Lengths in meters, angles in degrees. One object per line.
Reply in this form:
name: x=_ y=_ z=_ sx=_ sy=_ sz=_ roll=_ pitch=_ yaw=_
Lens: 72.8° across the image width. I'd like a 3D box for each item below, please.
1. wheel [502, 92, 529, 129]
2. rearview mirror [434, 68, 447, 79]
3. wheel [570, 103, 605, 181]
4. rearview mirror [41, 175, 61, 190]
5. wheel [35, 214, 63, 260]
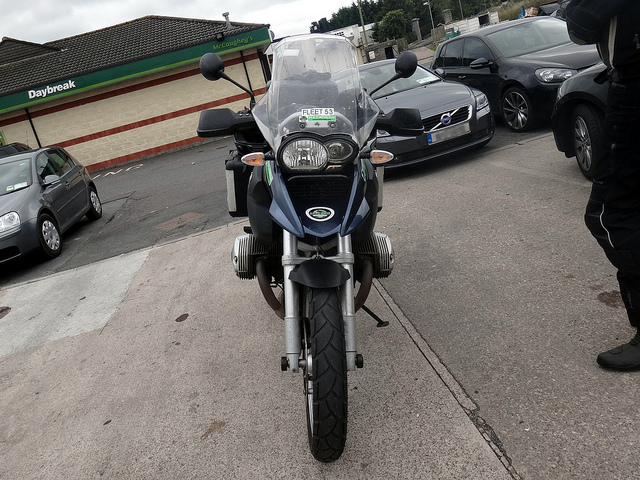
wheel: x=3.753 y=-2.480 z=8.388 sx=0.112 sy=0.678 sz=0.684 roll=-14 pitch=23 yaw=-7
rearview mirror: x=2.407 y=-3.313 z=8.795 sx=0.186 sy=0.187 sz=0.351 roll=-6 pitch=25 yaw=14
wheel: x=3.429 y=-1.225 z=5.457 sx=0.280 sy=0.932 sz=0.899 roll=-10 pitch=15 yaw=19
rearview mirror: x=-5.363 y=-1.176 z=8.739 sx=0.221 sy=0.205 sz=0.536 roll=-14 pitch=24 yaw=-2
wheel: x=-5.045 y=-0.043 z=8.052 sx=0.315 sy=0.768 sz=0.743 roll=-17 pitch=23 yaw=-14
